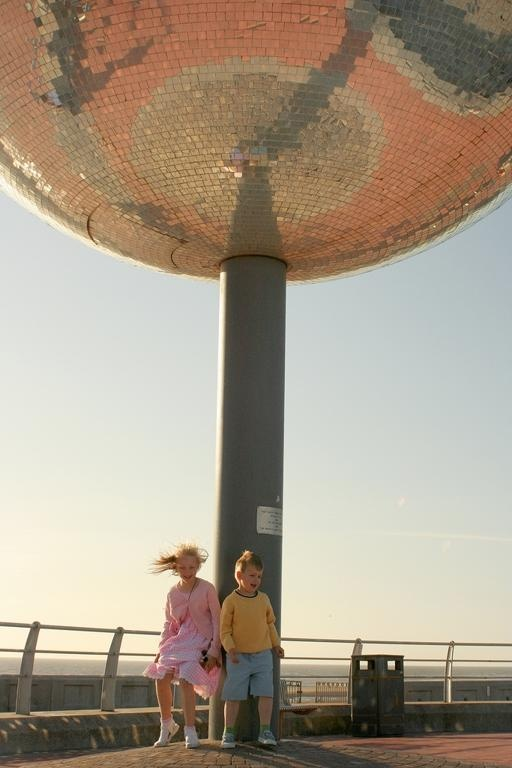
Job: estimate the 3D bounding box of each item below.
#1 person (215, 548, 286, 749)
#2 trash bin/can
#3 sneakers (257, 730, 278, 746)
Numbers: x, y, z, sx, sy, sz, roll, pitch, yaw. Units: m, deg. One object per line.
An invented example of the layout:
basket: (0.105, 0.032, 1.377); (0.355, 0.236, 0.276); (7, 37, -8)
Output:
person: (-0.039, 1.931, 6.195); (0.464, 1.342, 0.877); (3, -17, 2)
trash bin/can: (1.268, 3.275, 8.776); (0.537, 0.838, 0.613); (1, -17, 7)
sneakers: (0.082, 2.469, 5.799); (0.071, 0.065, 0.164); (6, -22, -13)
